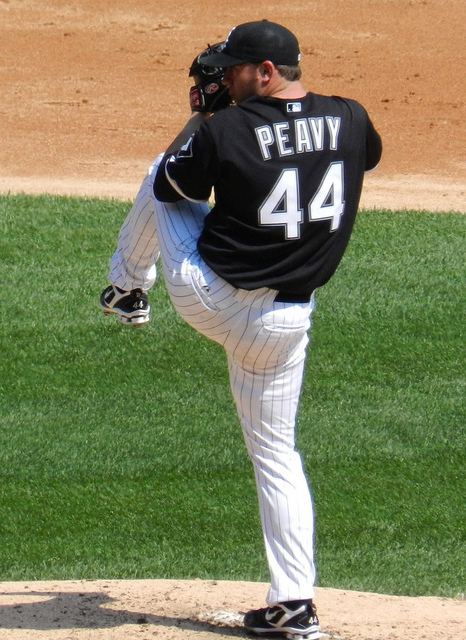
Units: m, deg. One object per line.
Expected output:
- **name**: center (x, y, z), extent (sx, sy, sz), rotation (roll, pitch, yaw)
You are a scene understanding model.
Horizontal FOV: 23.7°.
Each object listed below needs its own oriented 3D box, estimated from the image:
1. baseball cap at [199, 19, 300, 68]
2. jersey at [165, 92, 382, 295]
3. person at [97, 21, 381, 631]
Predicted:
- **baseball cap**: center (0.072, -0.997, 4.086), extent (0.360, 0.184, 0.227), rotation (-4, 13, 2)
- **jersey**: center (0.137, -0.508, 4.193), extent (0.779, 0.801, 0.587), rotation (-1, 30, -10)
- **person**: center (-0.090, 0.051, 4.347), extent (0.660, 2.307, 1.090), rotation (-1, 3, -43)
